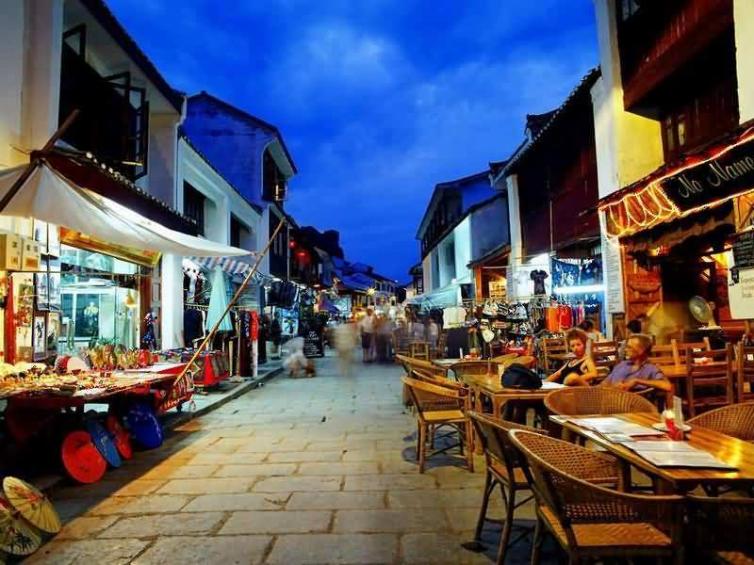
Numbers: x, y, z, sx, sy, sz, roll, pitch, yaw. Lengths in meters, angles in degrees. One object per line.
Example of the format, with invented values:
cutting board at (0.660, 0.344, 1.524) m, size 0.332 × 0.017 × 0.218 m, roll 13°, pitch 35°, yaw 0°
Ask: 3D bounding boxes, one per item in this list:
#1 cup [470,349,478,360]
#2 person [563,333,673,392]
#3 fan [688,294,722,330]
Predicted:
cup at (1.771, 1.296, 10.467) m, size 0.129 × 0.146 × 0.132 m, roll -1°, pitch -12°, yaw 0°
person at (3.049, 0.928, 7.180) m, size 1.056 × 0.551 × 0.783 m, roll 7°, pitch -7°, yaw -20°
fan at (6.286, 0.585, 11.091) m, size 0.419 × 0.668 × 0.503 m, roll -6°, pitch -14°, yaw -12°
